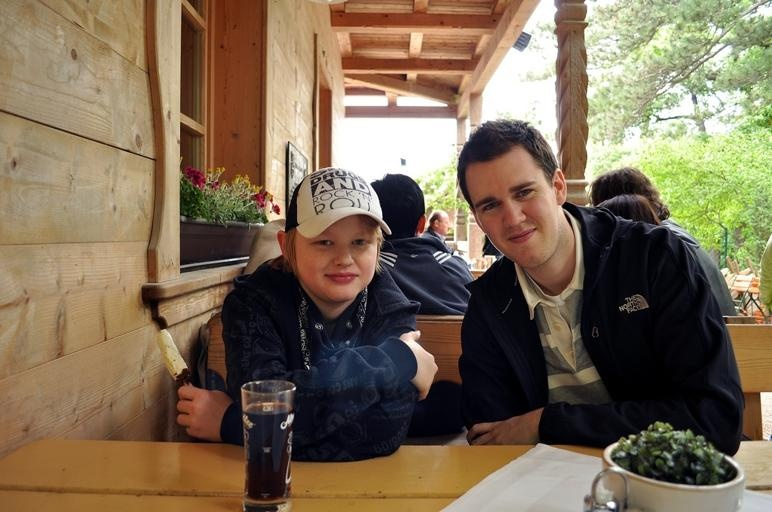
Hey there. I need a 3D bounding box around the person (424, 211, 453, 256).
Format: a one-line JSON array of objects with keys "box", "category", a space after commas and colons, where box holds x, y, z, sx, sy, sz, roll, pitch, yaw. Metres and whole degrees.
[{"box": [0.725, -0.322, 8.267, 0.444, 0.709, 0.939, -2, -13, 10], "category": "person"}]

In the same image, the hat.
[{"box": [-0.181, -0.193, 1.926, 0.315, 0.246, 0.422, -6, 5, -18], "category": "hat"}]

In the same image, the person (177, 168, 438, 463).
[{"box": [-0.207, 0.135, 1.778, 0.715, 0.868, 0.540, -1, 2, 4], "category": "person"}]

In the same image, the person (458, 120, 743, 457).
[{"box": [0.720, 0.216, 2.054, 0.958, 1.309, 0.767, -11, -8, 34], "category": "person"}]
